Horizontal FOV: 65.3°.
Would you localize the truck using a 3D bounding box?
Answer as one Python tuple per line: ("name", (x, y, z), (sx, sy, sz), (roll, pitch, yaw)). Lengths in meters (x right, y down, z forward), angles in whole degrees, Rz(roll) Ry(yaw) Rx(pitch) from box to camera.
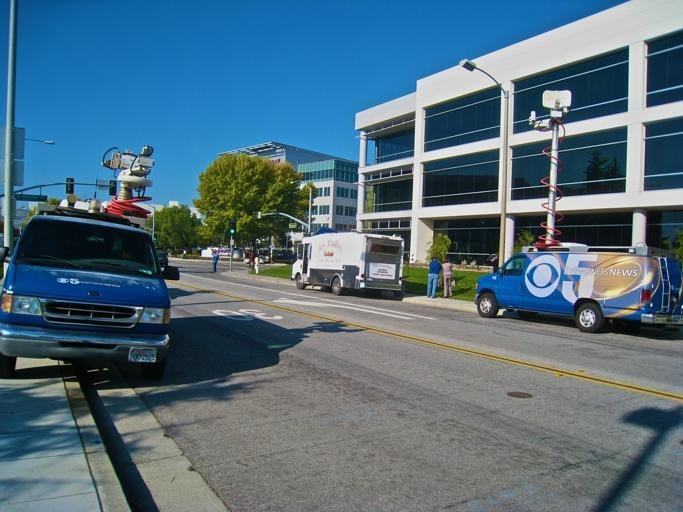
("truck", (0.064, 0.362, 27.784), (2.682, 3.419, 6.943), (-2, 7, -39))
